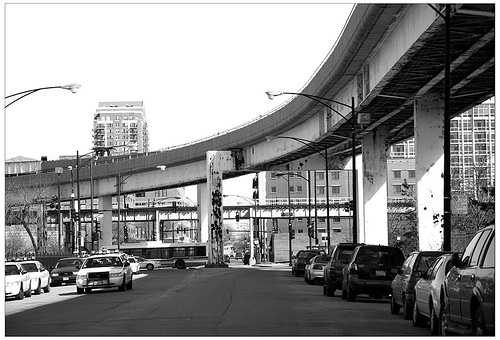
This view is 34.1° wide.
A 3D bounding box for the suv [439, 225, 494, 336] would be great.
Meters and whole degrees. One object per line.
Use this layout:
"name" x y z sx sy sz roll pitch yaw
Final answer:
"suv" 6.745 3.158 23.275 1.323 3.064 2.342 0 0 -13
